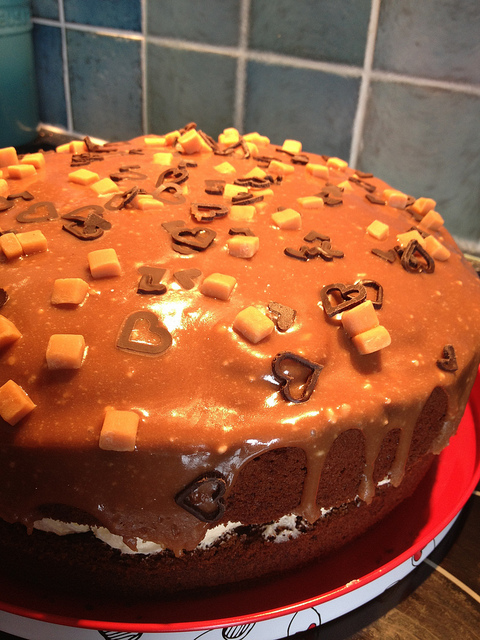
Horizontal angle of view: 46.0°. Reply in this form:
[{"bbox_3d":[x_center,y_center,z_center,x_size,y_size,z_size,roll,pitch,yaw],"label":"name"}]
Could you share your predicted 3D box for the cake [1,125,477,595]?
[{"bbox_3d":[-0.107,0.105,1.789,1.362,1.130,1.233,-9,26,-38],"label":"cake"}]
